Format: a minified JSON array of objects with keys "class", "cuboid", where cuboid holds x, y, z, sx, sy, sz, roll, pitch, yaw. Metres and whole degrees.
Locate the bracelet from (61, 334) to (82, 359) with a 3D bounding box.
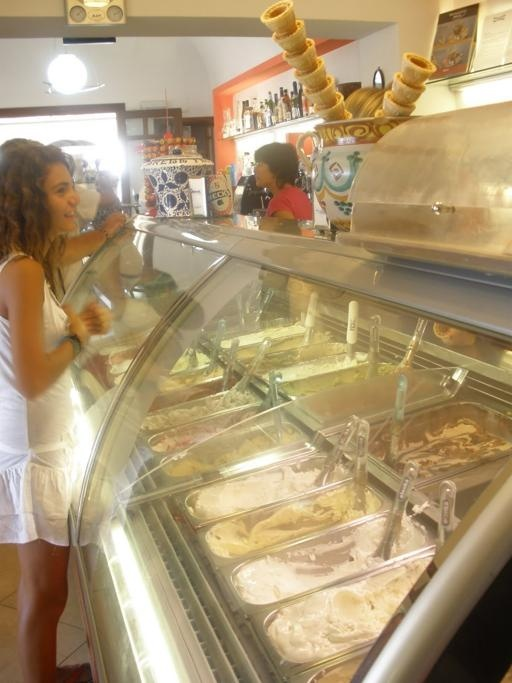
[{"class":"bracelet","cuboid":[-0.495,0.014,1.265,0.058,0.057,0.060,-7,28,-24]}]
